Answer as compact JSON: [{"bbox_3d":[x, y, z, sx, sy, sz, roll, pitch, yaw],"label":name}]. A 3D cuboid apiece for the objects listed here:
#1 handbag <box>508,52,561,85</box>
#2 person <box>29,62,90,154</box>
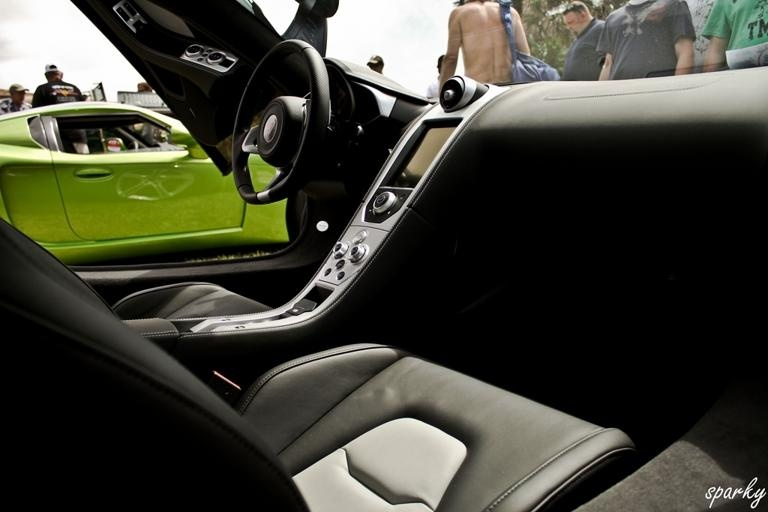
[{"bbox_3d":[0.510,-0.629,2.052,0.051,0.119,0.140,11,3,-44],"label":"handbag"},{"bbox_3d":[-1.997,-0.793,3.725,0.254,0.759,0.199,-4,11,-28],"label":"person"}]
